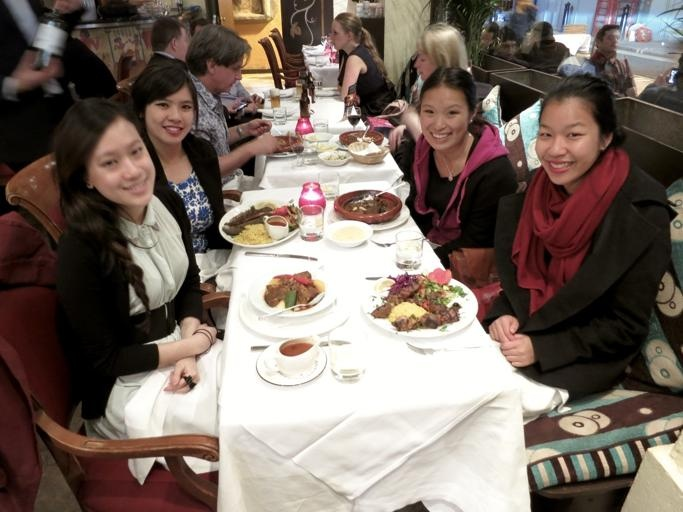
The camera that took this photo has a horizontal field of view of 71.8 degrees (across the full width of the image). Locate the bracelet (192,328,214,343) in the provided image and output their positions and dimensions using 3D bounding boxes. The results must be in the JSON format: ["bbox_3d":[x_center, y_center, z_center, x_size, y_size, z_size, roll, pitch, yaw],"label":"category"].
[{"bbox_3d":[-0.546,0.331,1.928,0.068,0.020,0.053,44,32,26],"label":"bracelet"}]

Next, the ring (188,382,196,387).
[{"bbox_3d":[-0.542,0.474,1.737,0.020,0.005,0.019,7,69,-19],"label":"ring"}]

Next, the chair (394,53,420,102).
[{"bbox_3d":[0.805,-2.171,5.620,0.157,0.596,0.173,13,22,1],"label":"chair"}]

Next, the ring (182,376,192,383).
[{"bbox_3d":[-0.562,0.451,1.738,0.019,0.027,0.028,-14,6,-34],"label":"ring"}]

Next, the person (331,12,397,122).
[{"bbox_3d":[0.209,-1.899,5.276,0.747,1.477,0.521,-3,37,5],"label":"person"}]

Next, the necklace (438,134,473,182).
[{"bbox_3d":[0.622,-0.536,2.594,0.175,0.184,0.247,-5,48,18],"label":"necklace"}]
